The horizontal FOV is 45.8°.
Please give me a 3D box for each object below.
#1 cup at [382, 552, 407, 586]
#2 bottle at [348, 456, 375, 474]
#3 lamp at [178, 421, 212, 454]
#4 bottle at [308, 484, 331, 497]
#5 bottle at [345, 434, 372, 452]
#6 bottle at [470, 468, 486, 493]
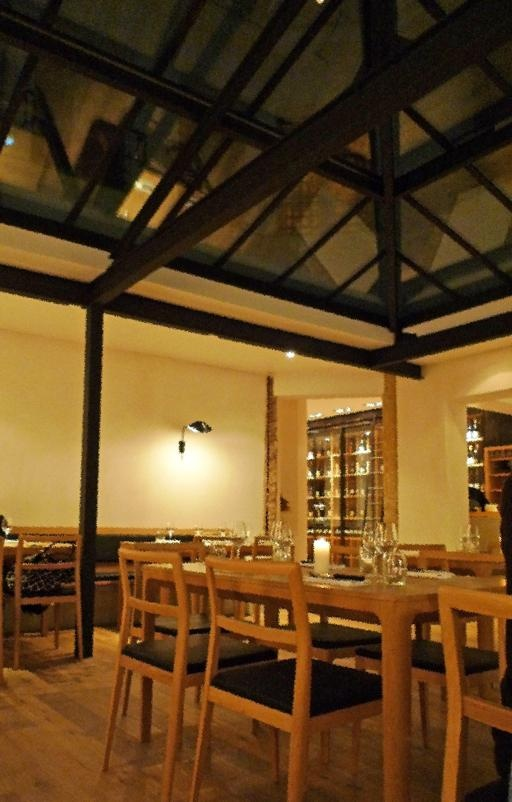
[{"bbox_3d":[0.418,0.507,1.846,0.084,0.092,0.085,-1,-4,0],"label":"cup"},{"bbox_3d":[2.030,1.268,11.815,0.120,0.358,0.573,5,-10,-26],"label":"bottle"},{"bbox_3d":[-0.919,0.493,8.733,0.499,0.638,0.355,-1,-6,28],"label":"lamp"},{"bbox_3d":[1.303,1.828,12.457,0.089,0.269,0.277,2,-4,-37],"label":"bottle"},{"bbox_3d":[2.040,0.733,12.146,0.318,0.429,0.589,0,-5,-17],"label":"bottle"},{"bbox_3d":[4.037,1.419,11.140,0.146,0.406,0.353,4,-9,-23],"label":"bottle"}]
